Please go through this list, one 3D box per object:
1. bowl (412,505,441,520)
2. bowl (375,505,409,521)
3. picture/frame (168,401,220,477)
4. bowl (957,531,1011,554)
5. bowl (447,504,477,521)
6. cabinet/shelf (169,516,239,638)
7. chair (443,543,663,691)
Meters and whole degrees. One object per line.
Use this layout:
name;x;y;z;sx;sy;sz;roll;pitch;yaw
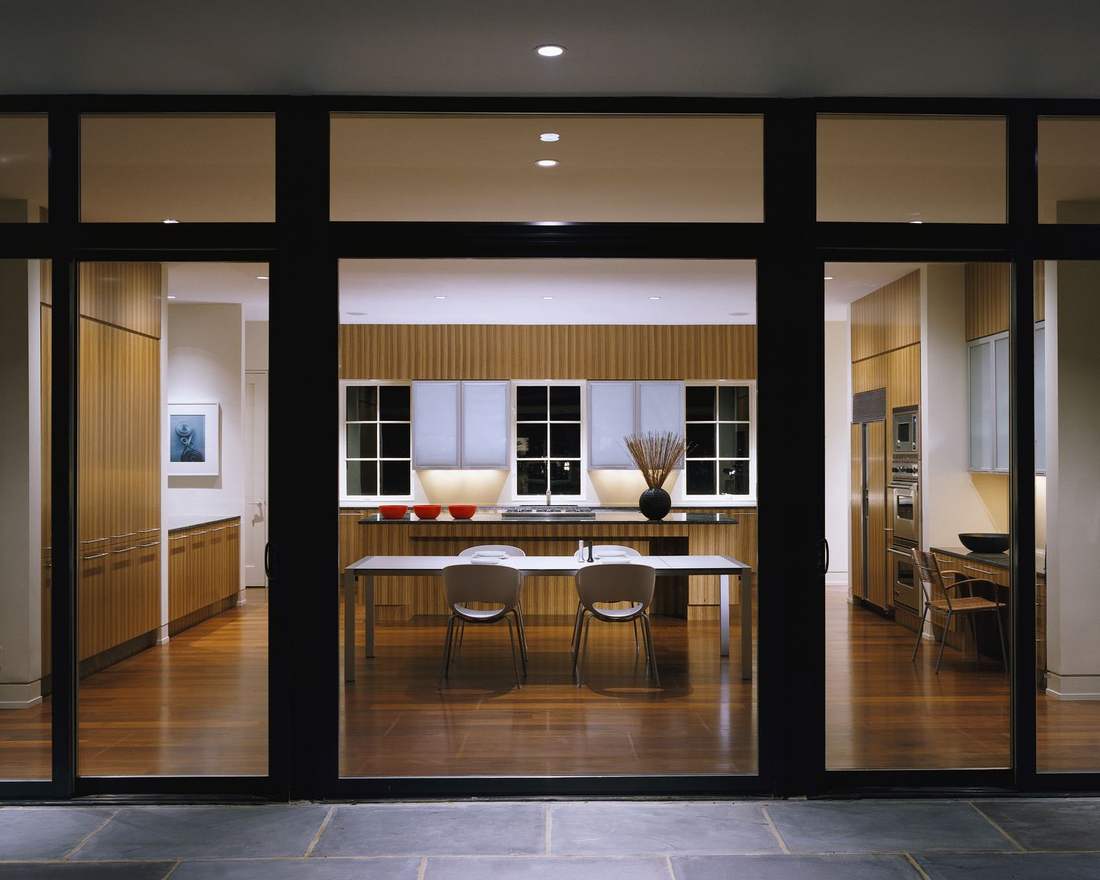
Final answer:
bowl;-0.986;0.587;8.449;0.201;0.149;0.253;-1;5;-9
bowl;-1.260;0.586;8.512;0.264;0.130;0.215;-3;5;-26
picture/frame;-2.967;-0.013;8.795;0.544;0.639;0.041;0;0;16
bowl;2.791;0.665;6.759;0.281;0.121;0.305;3;-6;0
bowl;-0.705;0.589;8.453;0.184;0.138;0.251;-1;5;-4
cabinet/shelf;-2.751;1.034;8.202;0.173;0.674;1.333;-1;1;6
chair;0.008;1.144;7.230;1.436;0.896;1.553;0;5;-2
